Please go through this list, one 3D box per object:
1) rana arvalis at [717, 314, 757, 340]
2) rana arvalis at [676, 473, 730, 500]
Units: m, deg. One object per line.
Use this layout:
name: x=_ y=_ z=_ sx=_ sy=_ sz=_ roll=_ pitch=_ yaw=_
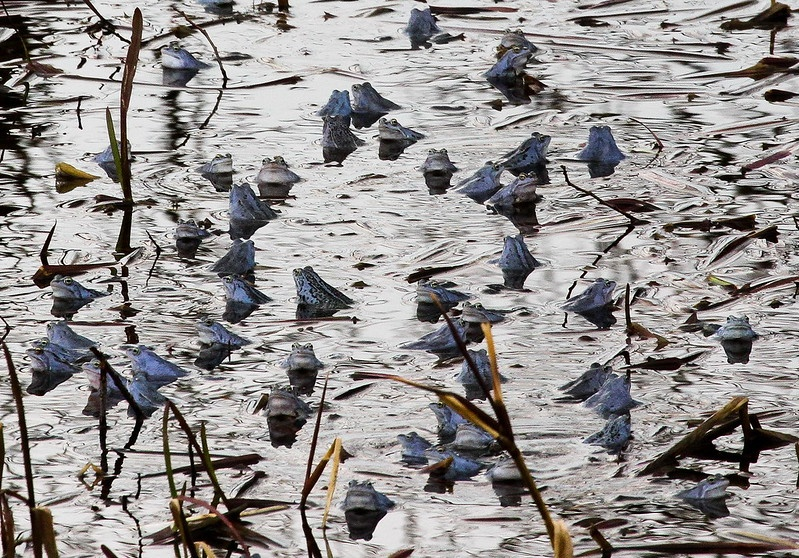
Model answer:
rana arvalis: x=1.451 y=0.213 z=5.257 sx=0.146 sy=0.050 sz=0.146 roll=4 pitch=6 yaw=8
rana arvalis: x=1.092 y=0.751 z=4.390 sx=0.165 sy=0.040 sz=0.109 roll=-3 pitch=5 yaw=24
